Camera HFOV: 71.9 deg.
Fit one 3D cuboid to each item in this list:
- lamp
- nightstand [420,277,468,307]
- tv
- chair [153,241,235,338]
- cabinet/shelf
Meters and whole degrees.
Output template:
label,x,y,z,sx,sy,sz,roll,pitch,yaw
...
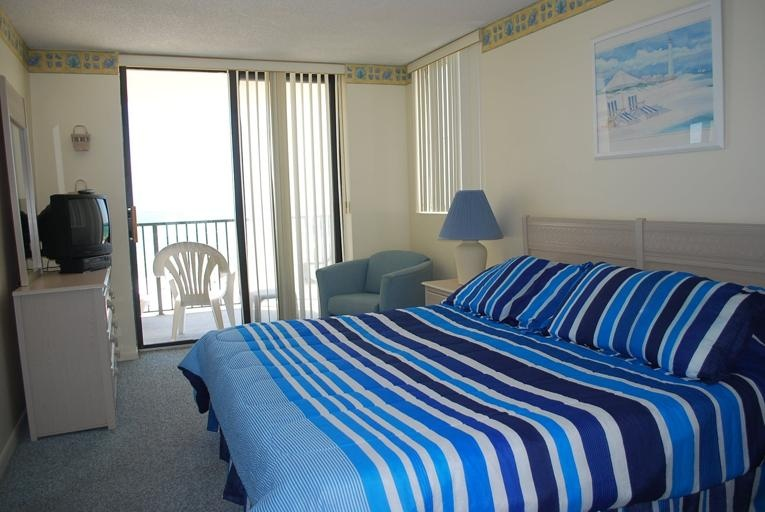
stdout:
label,x,y,z,sx,sy,sz,roll,pitch,yaw
lamp,0.803,-0.176,4.756,0.558,0.823,0.565,-5,10,2
nightstand,0.551,0.303,4.800,0.241,0.244,0.263,-8,12,-34
tv,-2.557,-0.207,4.419,0.461,0.634,0.483,3,7,25
chair,-2.118,0.379,6.035,0.791,1.143,0.775,-2,9,-14
cabinet/shelf,-2.310,0.735,3.827,0.425,0.837,1.100,-8,11,-22
